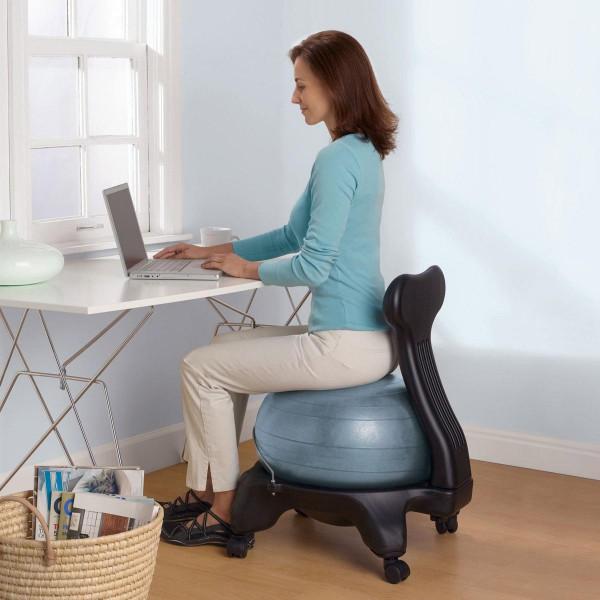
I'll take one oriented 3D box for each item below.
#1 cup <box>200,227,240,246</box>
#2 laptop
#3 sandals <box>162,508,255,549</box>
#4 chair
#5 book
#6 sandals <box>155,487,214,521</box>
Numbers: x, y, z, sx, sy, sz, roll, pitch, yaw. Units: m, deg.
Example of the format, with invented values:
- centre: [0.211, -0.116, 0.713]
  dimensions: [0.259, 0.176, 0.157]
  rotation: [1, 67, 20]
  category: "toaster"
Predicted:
- centre: [-0.295, -0.223, 2.206]
  dimensions: [0.138, 0.080, 0.099]
  rotation: [3, 4, 5]
  category: "cup"
- centre: [-0.384, -0.194, 1.777]
  dimensions: [0.325, 0.225, 0.331]
  rotation: [4, 12, 1]
  category: "laptop"
- centre: [-0.266, 0.689, 1.838]
  dimensions: [0.278, 0.100, 0.113]
  rotation: [3, -2, 3]
  category: "sandals"
- centre: [0.285, 0.309, 2.097]
  dimensions: [0.859, 0.977, 0.765]
  rotation: [2, 3, 23]
  category: "chair"
- centre: [-0.455, 0.439, 1.337]
  dimensions: [0.222, 0.086, 0.164]
  rotation: [-1, -3, 9]
  category: "book"
- centre: [-0.369, 0.653, 1.953]
  dimensions: [0.190, 0.067, 0.085]
  rotation: [0, 3, 0]
  category: "sandals"
